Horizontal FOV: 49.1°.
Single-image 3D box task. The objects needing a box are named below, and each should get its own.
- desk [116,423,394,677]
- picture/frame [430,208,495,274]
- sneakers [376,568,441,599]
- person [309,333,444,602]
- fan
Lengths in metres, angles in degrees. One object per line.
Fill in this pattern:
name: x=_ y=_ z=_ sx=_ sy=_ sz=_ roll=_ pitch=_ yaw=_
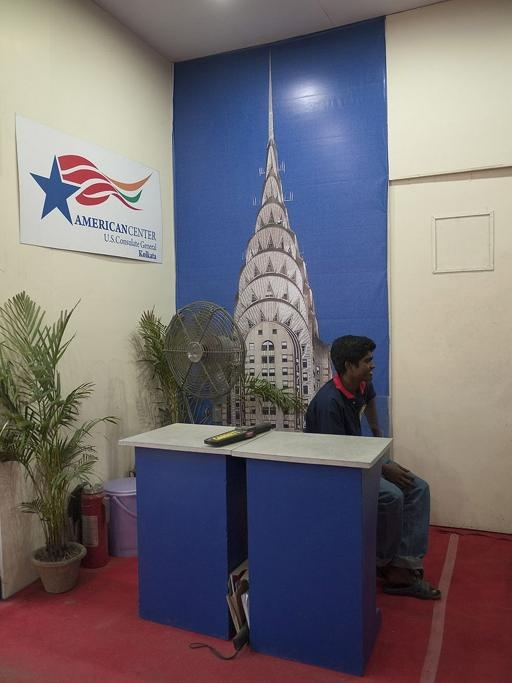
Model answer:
desk: x=0.054 y=0.365 z=2.396 sx=1.235 sy=1.142 sz=0.696 roll=3 pitch=10 yaw=27
picture/frame: x=1.391 y=-0.670 z=3.719 sx=0.345 sy=0.448 sz=0.027 roll=2 pitch=4 yaw=33
sneakers: x=0.755 y=1.200 z=2.841 sx=0.321 sy=0.184 sz=0.124 roll=1 pitch=0 yaw=12
person: x=0.606 y=0.623 z=2.931 sx=0.442 sy=1.342 sz=0.632 roll=-4 pitch=-1 yaw=-40
fan: x=-0.305 y=0.184 z=3.456 sx=0.471 sy=0.969 sz=0.290 roll=1 pitch=14 yaw=20
